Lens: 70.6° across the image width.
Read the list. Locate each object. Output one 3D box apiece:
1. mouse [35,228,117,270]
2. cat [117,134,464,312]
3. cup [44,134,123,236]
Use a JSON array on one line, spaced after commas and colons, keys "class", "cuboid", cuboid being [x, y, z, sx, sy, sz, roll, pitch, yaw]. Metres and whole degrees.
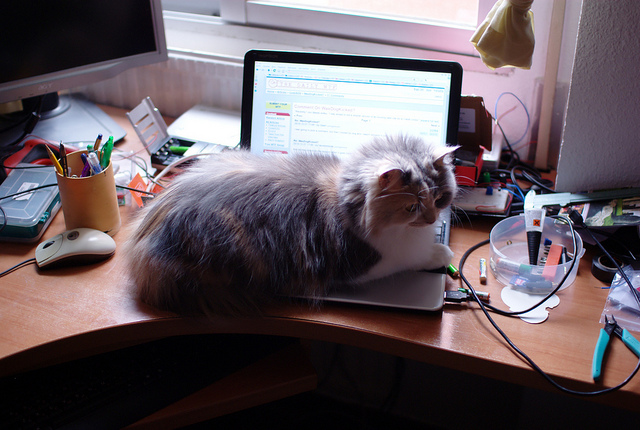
[{"class": "mouse", "cuboid": [-0.634, 0.087, 1.167, 0.175, 0.060, 0.099, -4, 35, -7]}, {"class": "cat", "cuboid": [-0.089, 0.001, 1.156, 0.836, 0.379, 0.283, -1, 22, -4]}, {"class": "cup", "cuboid": [-0.634, -0.088, 1.232, 0.141, 0.252, 0.152, 7, 30, -4]}]
